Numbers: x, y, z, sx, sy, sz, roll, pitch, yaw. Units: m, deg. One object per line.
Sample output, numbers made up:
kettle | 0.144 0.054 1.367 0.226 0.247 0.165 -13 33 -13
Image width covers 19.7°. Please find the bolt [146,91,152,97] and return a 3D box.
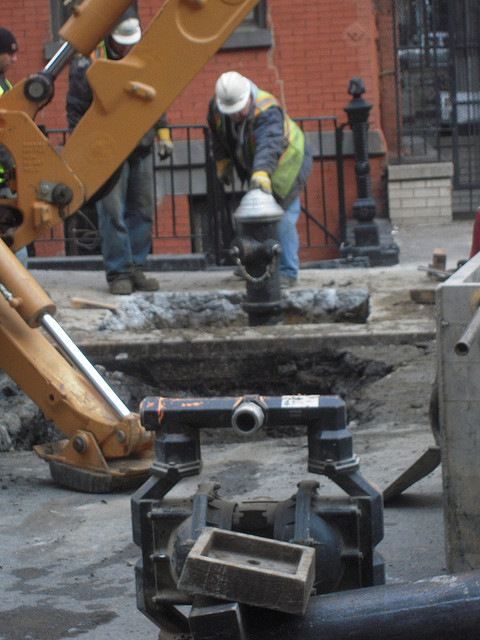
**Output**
bolt | -0.428 -1.071 6.480 0.024 0.021 0.013 -8 6 -12

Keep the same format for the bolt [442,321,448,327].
bolt | 0.711 0.003 4.758 0.013 0.016 0.005 -11 -14 12

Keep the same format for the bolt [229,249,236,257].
bolt | -0.047 -0.403 7.963 0.025 0.039 0.031 -1 4 4

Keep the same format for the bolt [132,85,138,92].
bolt | -0.493 -1.097 6.455 0.020 0.025 0.012 8 10 -6

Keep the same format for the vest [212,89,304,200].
vest | 0.119 -1.118 8.822 0.505 0.698 0.701 -5 6 15

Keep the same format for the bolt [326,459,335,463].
bolt | 0.299 0.456 4.551 0.025 0.012 0.006 -8 6 -3

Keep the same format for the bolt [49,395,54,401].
bolt | -0.868 0.345 6.358 0.027 0.024 0.006 -1 7 44

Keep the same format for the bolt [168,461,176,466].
bolt | -0.229 0.471 4.609 0.021 0.014 0.008 -6 6 9

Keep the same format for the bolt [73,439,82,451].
bolt | -0.746 0.560 6.310 0.060 0.059 0.026 -3 6 31

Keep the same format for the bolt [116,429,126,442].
bolt | -0.540 0.512 6.262 0.059 0.055 0.010 -1 7 45

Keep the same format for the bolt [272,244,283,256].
bolt | 0.219 -0.423 8.080 0.038 0.063 0.032 -6 46 4

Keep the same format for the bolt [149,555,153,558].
bolt | -0.295 0.779 4.598 0.006 0.010 0.029 -8 6 -19

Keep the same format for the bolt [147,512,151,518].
bolt | -0.304 0.644 4.614 0.012 0.027 0.014 4 8 5

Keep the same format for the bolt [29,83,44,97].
bolt | -0.939 -1.075 6.372 0.071 0.063 0.027 -4 6 27

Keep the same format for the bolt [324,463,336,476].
bolt | 0.299 0.482 4.550 0.033 0.038 0.036 1 6 18
